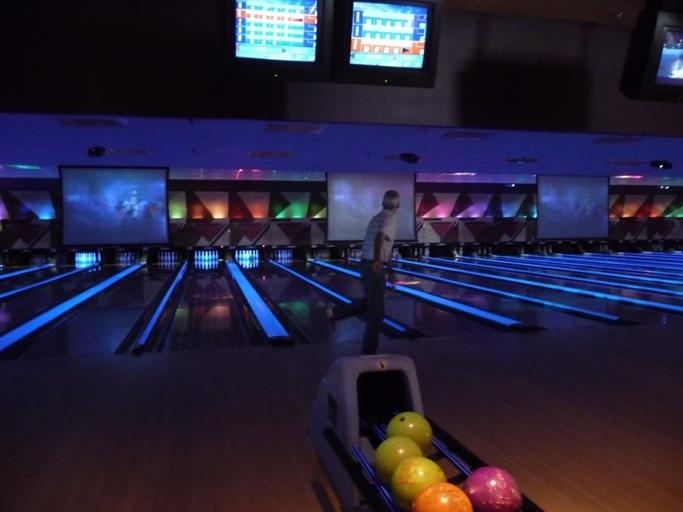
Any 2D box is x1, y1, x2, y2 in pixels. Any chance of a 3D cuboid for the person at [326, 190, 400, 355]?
[{"bbox_3d":[0.257,0.071,3.531,0.280,1.069,0.867,1,7,6],"label":"person"}]
